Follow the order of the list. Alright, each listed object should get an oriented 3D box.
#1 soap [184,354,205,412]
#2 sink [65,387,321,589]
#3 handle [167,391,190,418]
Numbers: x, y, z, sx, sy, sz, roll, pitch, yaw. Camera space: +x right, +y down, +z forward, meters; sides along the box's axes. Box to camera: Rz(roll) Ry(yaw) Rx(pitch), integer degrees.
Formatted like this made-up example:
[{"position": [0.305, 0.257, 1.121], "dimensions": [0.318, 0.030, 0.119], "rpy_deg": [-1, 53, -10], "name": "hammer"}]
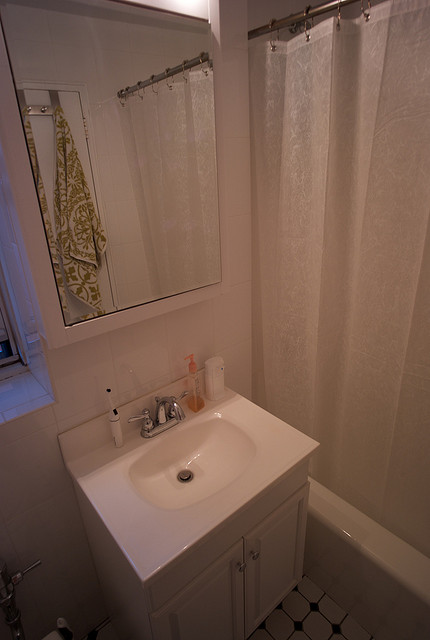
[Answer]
[{"position": [-0.072, 0.209, 1.408], "dimensions": [0.048, 0.184, 0.038], "rpy_deg": [-6, -5, 8], "name": "soap"}, {"position": [-0.091, 0.475, 1.167], "dimensions": [0.501, 0.145, 0.361], "rpy_deg": [-26, 41, -37], "name": "sink"}, {"position": [-0.122, 0.264, 1.346], "dimensions": [0.028, 0.064, 0.134], "rpy_deg": [-7, 15, -19], "name": "handle"}]
